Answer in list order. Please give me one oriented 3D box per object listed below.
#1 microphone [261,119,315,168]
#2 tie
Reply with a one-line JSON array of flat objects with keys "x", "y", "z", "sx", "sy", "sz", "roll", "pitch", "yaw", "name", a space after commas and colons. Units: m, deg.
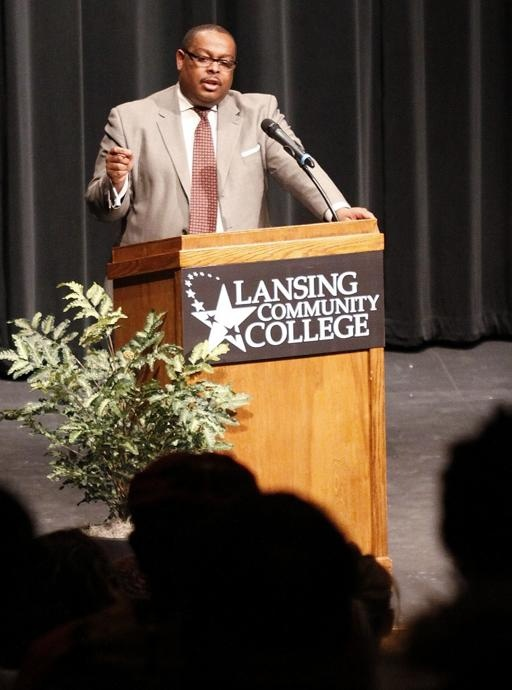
[{"x": 0.077, "y": -0.461, "z": 1.783, "sx": 0.100, "sy": 0.122, "sz": 0.160, "roll": -8, "pitch": 13, "yaw": -25, "name": "microphone"}, {"x": -0.142, "y": -0.442, "z": 2.032, "sx": 0.074, "sy": 0.286, "sz": 0.142, "roll": -3, "pitch": 11, "yaw": 0, "name": "tie"}]
